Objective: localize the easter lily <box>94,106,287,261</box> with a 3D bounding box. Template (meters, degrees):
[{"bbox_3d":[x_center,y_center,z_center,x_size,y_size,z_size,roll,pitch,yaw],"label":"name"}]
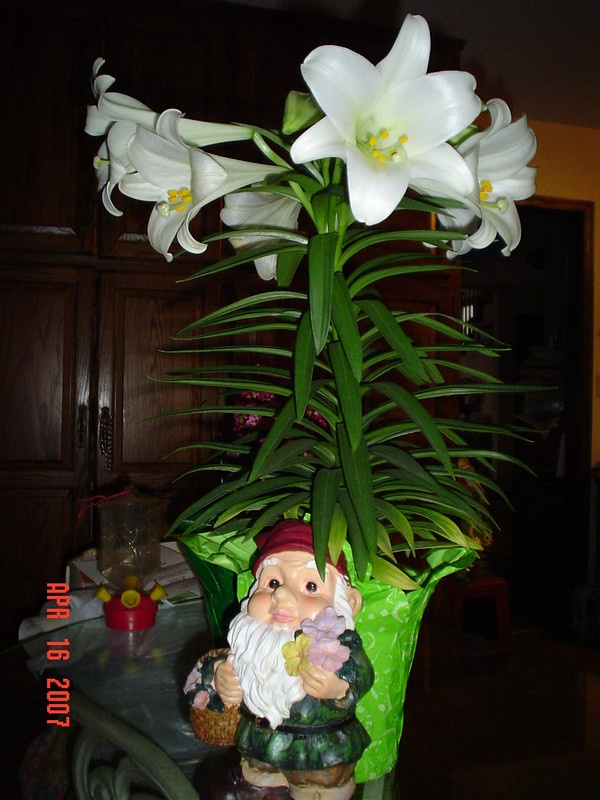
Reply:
[{"bbox_3d":[-0.145,-0.205,0.616,0.203,0.137,0.132,2,1,28],"label":"easter lily"}]

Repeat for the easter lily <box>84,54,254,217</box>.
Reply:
[{"bbox_3d":[-0.121,-0.263,0.653,0.181,0.122,0.126,-17,-24,-29],"label":"easter lily"}]

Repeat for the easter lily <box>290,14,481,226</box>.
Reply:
[{"bbox_3d":[0.062,-0.220,0.499,0.154,0.164,0.062,1,0,-25],"label":"easter lily"}]
